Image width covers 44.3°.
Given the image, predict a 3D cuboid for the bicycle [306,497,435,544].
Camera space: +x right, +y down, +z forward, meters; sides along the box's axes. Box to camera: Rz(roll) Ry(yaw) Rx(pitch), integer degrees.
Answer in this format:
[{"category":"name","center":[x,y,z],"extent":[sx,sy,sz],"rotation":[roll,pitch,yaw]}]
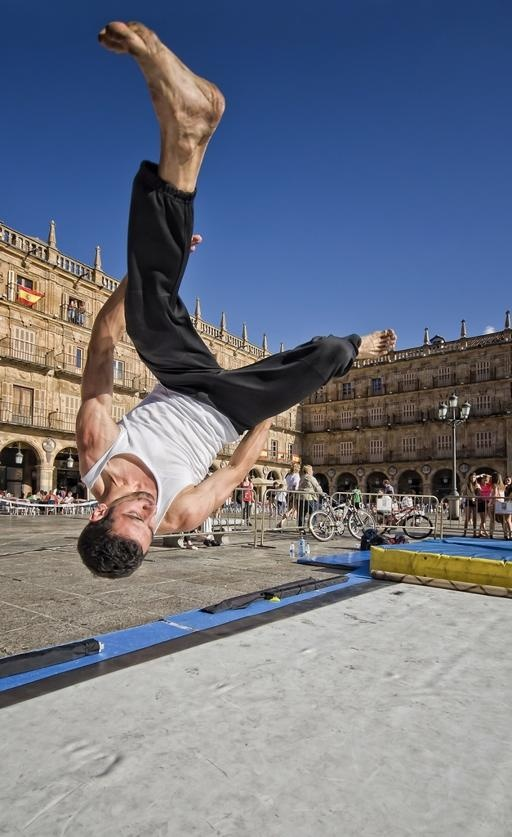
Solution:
[{"category":"bicycle","center":[2.021,1.907,11.206],"extent":[2.490,1.181,1.004],"rotation":[2,-3,-7]}]
